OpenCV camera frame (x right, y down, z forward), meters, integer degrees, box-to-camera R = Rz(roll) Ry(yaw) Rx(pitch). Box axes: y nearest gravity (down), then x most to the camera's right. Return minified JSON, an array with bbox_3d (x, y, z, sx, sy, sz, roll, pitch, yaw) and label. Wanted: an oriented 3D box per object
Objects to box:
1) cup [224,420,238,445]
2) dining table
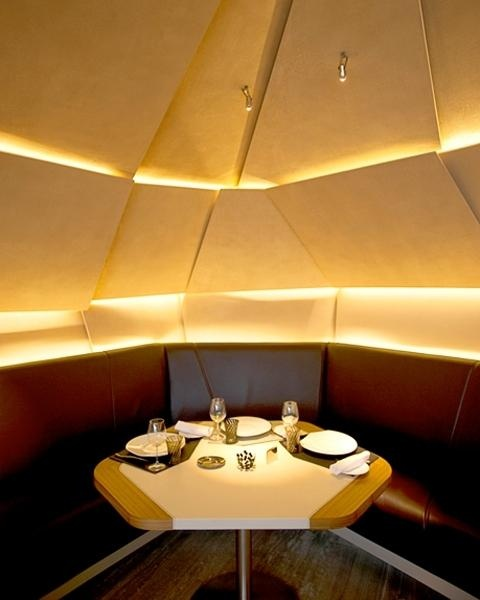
[{"bbox_3d":[-0.038,0.592,1.982,0.071,0.118,0.078,0,-15,0],"label":"cup"},{"bbox_3d":[-0.012,0.731,1.632,1.124,0.212,0.676,2,6,12],"label":"dining table"}]
